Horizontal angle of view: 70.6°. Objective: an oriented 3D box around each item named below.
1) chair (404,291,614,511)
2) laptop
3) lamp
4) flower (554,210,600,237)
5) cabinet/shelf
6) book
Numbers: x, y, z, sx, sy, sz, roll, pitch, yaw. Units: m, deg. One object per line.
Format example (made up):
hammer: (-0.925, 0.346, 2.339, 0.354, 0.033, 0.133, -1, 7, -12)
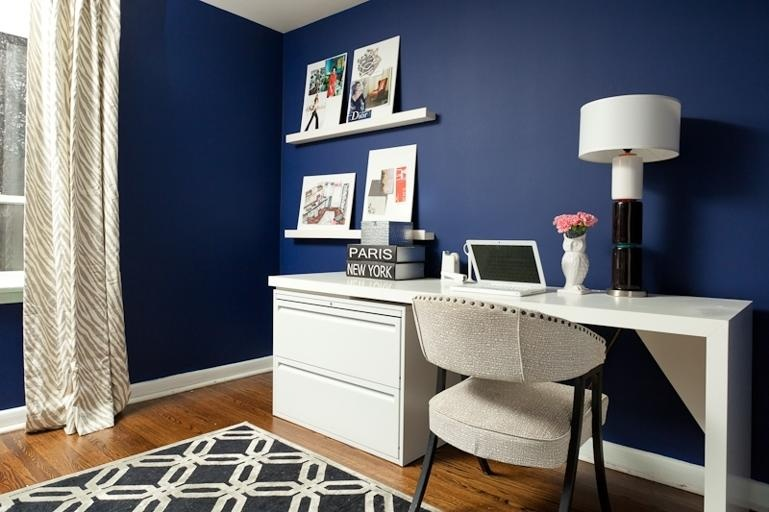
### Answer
chair: (0.533, 0.447, 2.861, 0.954, 1.368, 1.030, 3, 7, 37)
laptop: (0.660, 0.054, 3.014, 0.483, 0.318, 0.309, 0, -2, 41)
lamp: (1.293, -0.341, 2.938, 0.503, 1.023, 0.412, 6, 15, 25)
flower: (1.078, -0.191, 3.028, 0.183, 0.129, 0.186, 3, 8, 39)
cabinet/shelf: (-0.129, 0.683, 3.566, 1.181, 0.868, 0.627, 3, 3, 42)
book: (0.015, -0.121, 3.612, 0.373, 0.409, 0.516, 0, -1, -41)
